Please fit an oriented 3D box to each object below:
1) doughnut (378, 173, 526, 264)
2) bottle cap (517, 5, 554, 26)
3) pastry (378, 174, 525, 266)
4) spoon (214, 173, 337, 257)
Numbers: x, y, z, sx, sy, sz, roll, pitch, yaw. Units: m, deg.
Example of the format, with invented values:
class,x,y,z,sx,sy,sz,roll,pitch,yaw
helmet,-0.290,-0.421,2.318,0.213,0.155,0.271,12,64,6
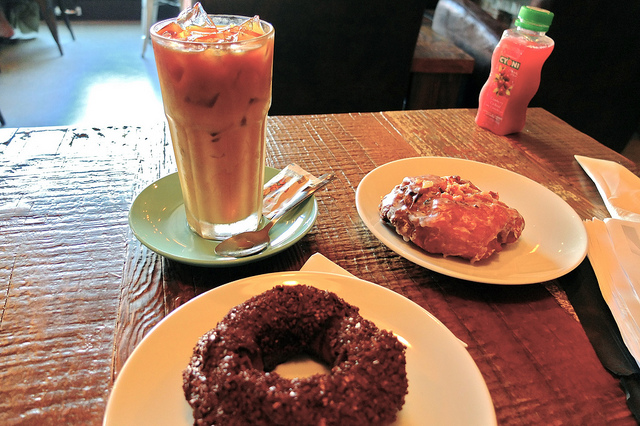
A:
class,x,y,z,sx,sy,sz,roll,pitch,yaw
doughnut,0.272,-0.001,0.900,0.269,0.078,0.252,13,37,9
bottle cap,0.584,-0.538,1.183,0.076,0.027,0.075,6,29,-20
pastry,0.265,0.026,0.873,0.216,0.070,0.194,-2,34,-13
spoon,-0.073,0.002,0.886,0.074,0.029,0.320,33,53,22
